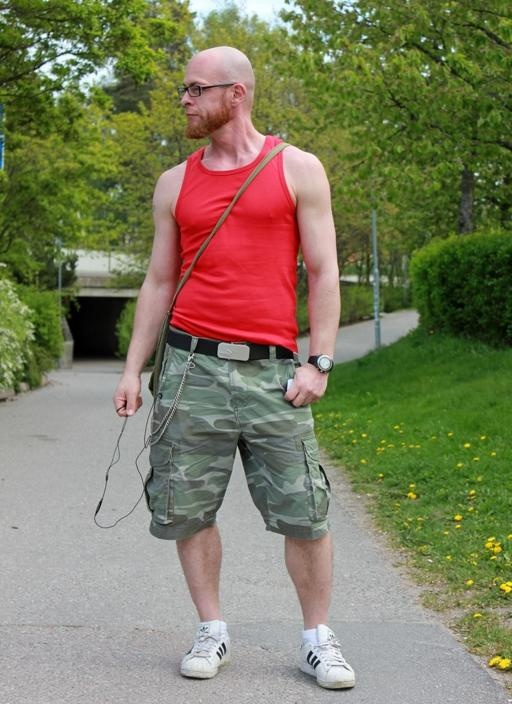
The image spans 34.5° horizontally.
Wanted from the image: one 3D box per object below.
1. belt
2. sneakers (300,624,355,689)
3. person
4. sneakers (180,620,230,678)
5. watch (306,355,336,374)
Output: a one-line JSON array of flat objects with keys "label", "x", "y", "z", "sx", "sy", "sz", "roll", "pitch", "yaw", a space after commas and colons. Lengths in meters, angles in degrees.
[{"label": "belt", "x": -0.089, "y": -0.019, "z": 2.697, "sx": 0.417, "sy": 0.099, "sz": 0.148, "roll": 0, "pitch": 5, "yaw": 2}, {"label": "sneakers", "x": 0.219, "y": 0.992, "z": 2.694, "sx": 0.110, "sy": 0.137, "sz": 0.270, "roll": -1, "pitch": 2, "yaw": -26}, {"label": "person", "x": -0.074, "y": 0.036, "z": 2.765, "sx": 0.806, "sy": 2.103, "sz": 0.414, "roll": 0, "pitch": 5, "yaw": 7}, {"label": "sneakers", "x": -0.160, "y": 0.996, "z": 2.791, "sx": 0.097, "sy": 0.113, "sz": 0.264, "roll": 0, "pitch": 0, "yaw": 10}, {"label": "watch", "x": 0.209, "y": 0.038, "z": 2.670, "sx": 0.091, "sy": 0.049, "sz": 0.076, "roll": -2, "pitch": 3, "yaw": -30}]
